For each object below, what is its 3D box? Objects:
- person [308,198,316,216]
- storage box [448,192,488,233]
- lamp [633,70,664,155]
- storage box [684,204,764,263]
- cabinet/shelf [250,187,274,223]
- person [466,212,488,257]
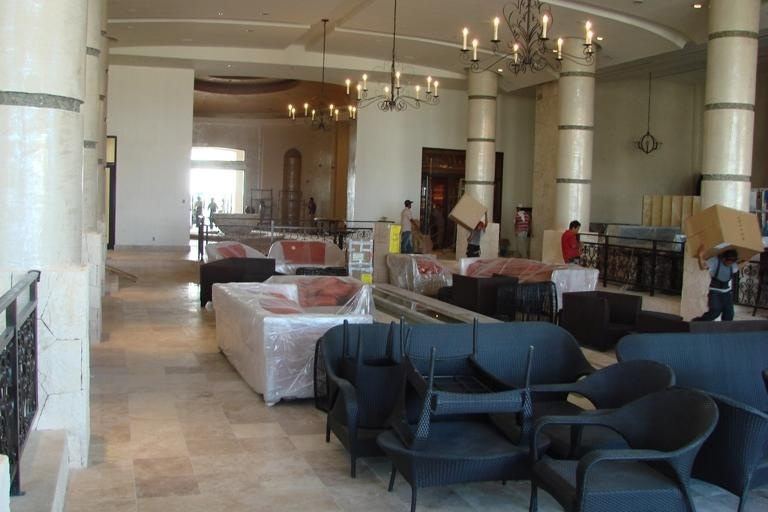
[{"bbox_3d":[-2.949,-1.991,23.294,0.343,0.798,1.547,0,5,-8],"label":"person"},{"bbox_3d":[1.638,-0.866,11.235,0.680,0.727,0.436,34,16,-2],"label":"storage box"},{"bbox_3d":[7.366,-3.840,15.820,0.818,2.049,0.202,0,5,-15],"label":"lamp"},{"bbox_3d":[4.366,-0.256,7.260,0.746,0.591,0.740,0,-9,-19],"label":"storage box"},{"bbox_3d":[-5.394,-2.385,25.274,0.996,1.189,0.566,-1,5,-17],"label":"cabinet/shelf"},{"bbox_3d":[1.884,-0.264,11.827,0.440,1.332,0.189,2,-18,19],"label":"person"}]
